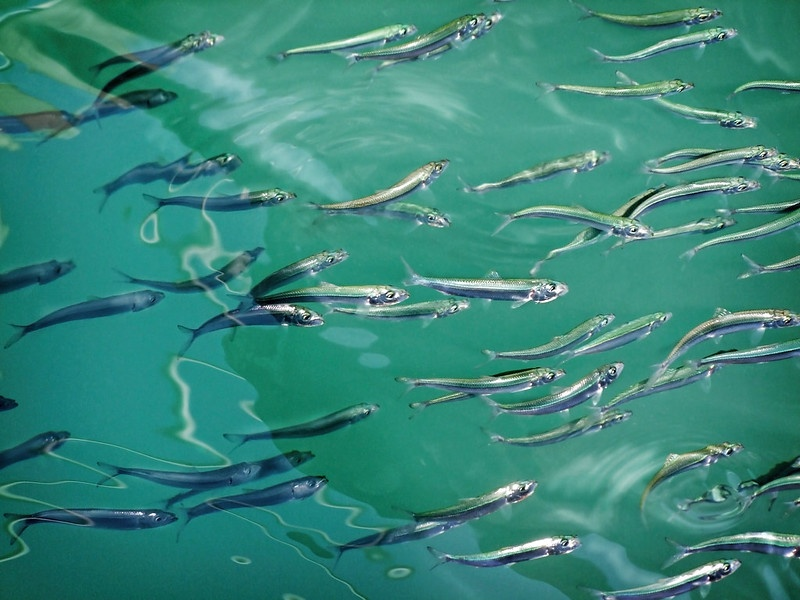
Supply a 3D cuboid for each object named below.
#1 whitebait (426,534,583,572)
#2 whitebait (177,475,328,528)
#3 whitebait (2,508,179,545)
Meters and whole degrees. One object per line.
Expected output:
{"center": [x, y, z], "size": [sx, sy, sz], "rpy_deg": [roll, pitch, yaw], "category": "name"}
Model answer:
{"center": [0.563, 1.351, 4.467], "size": [0.781, 0.154, 0.331], "rpy_deg": [-6, -13, -3], "category": "whitebait"}
{"center": [-0.798, 1.076, 4.554], "size": [0.815, 0.184, 0.143], "rpy_deg": [-10, -15, 15], "category": "whitebait"}
{"center": [-1.698, 1.201, 4.607], "size": [0.922, 0.151, 0.178], "rpy_deg": [-8, -14, 12], "category": "whitebait"}
